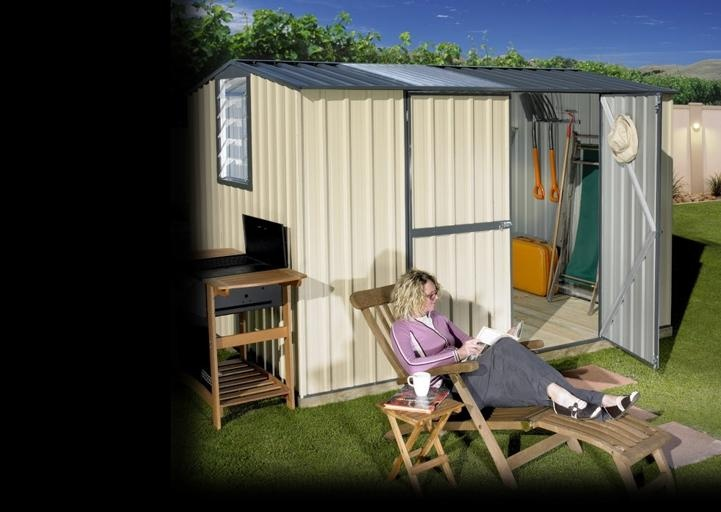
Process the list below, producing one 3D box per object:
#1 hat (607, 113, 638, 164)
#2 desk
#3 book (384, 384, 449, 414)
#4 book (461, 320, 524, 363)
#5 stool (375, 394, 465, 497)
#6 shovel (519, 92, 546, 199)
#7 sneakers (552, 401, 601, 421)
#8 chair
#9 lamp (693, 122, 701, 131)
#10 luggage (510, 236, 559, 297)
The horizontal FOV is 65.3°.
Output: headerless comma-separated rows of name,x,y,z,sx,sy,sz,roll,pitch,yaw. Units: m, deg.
hat,3.091,-1.372,6.653,0.145,0.584,0.419,-4,14,-11
desk,-1.217,0.763,5.966,1.245,1.556,2.071,-5,7,-39
book,0.449,1.139,4.472,0.400,0.099,0.480,6,15,27
book,1.188,0.710,4.922,0.531,0.150,0.319,-15,4,2
stool,0.490,1.451,4.677,0.706,0.718,0.692,-10,15,-40
shovel,2.884,-1.771,9.309,0.462,1.809,1.088,1,14,11
sneakers,1.696,1.207,4.408,0.307,0.126,0.117,-6,49,26
chair,1.232,1.048,5.179,2.832,1.585,1.337,3,7,44
lamp,10.649,-4.128,17.869,0.220,0.192,0.222,1,6,28
luggage,2.806,0.200,9.070,0.296,0.803,0.882,-6,12,-28
